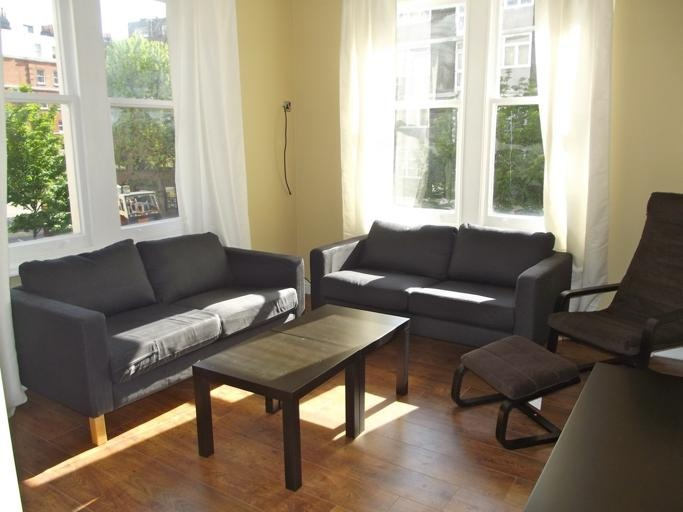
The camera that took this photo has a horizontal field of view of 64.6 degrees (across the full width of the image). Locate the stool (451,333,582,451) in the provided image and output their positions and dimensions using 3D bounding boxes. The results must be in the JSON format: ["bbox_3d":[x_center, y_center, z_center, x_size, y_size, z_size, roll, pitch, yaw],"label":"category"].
[{"bbox_3d":[1.036,0.808,3.222,0.520,0.464,0.483,-9,16,-20],"label":"stool"}]
